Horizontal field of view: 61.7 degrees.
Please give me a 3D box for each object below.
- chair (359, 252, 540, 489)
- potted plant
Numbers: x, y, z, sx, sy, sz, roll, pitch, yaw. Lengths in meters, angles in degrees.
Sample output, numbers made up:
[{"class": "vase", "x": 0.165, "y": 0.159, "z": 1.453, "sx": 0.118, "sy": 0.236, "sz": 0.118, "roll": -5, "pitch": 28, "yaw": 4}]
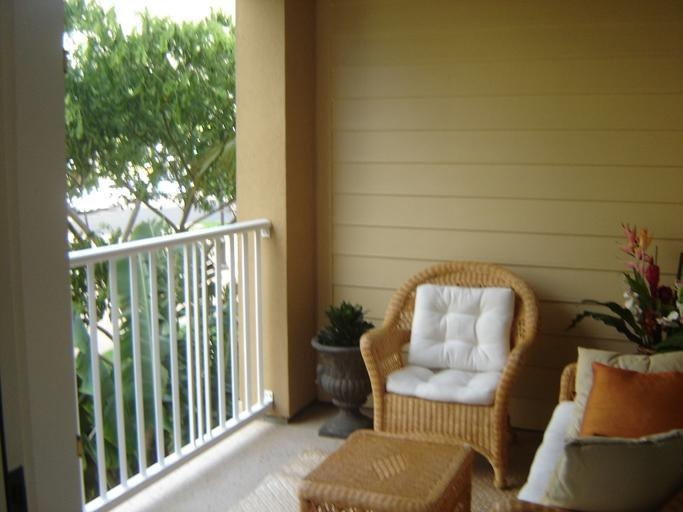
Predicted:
[{"class": "chair", "x": 0.590, "y": 0.652, "z": 3.164, "sx": 0.834, "sy": 1.121, "sz": 0.810, "roll": 2, "pitch": 1, "yaw": 11}, {"class": "potted plant", "x": 0.029, "y": 0.685, "z": 3.478, "sx": 0.376, "sy": 0.783, "sz": 0.399, "roll": -3, "pitch": 6, "yaw": -5}]
